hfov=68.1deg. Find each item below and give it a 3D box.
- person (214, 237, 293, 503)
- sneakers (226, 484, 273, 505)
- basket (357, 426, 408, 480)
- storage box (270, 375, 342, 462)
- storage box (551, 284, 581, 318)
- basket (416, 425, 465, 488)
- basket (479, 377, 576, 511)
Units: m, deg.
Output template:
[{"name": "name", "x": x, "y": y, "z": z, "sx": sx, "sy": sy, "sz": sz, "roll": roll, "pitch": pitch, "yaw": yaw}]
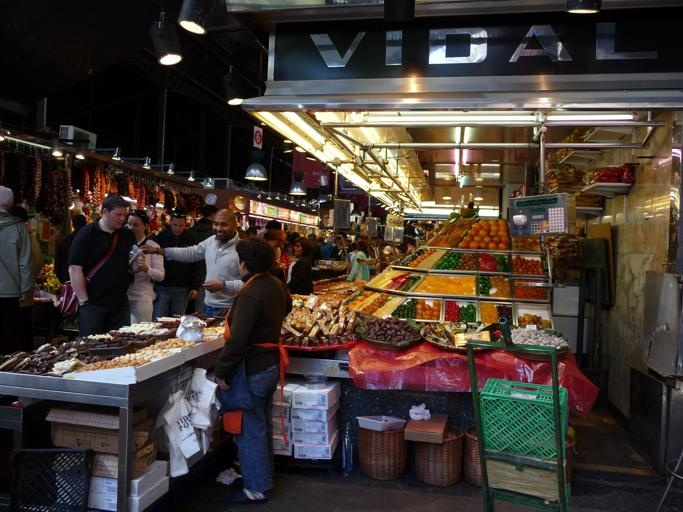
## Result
[{"name": "person", "x": -0.769, "y": 0.967, "z": 4.312, "sx": 0.483, "sy": 2.213, "sz": 0.502, "roll": 3, "pitch": 8, "yaw": 3}, {"name": "sneakers", "x": -0.789, "y": 2.040, "z": 4.292, "sx": 0.293, "sy": 0.100, "sz": 0.144, "roll": 14, "pitch": 4, "yaw": 2}, {"name": "basket", "x": 0.366, "y": 1.852, "z": 4.725, "sx": 0.466, "sy": 0.412, "sz": 0.447, "roll": 0, "pitch": -10, "yaw": 0}, {"name": "storage box", "x": -0.311, "y": 1.552, "z": 4.928, "sx": 0.903, "sy": 0.842, "sz": 0.648, "roll": 0, "pitch": -4, "yaw": 10}, {"name": "storage box", "x": 3.472, "y": 0.721, "z": 7.873, "sx": 0.355, "sy": 0.474, "sz": 0.326, "roll": 6, "pitch": 9, "yaw": 22}, {"name": "basket", "x": 0.876, "y": 1.898, "z": 4.768, "sx": 0.440, "sy": 0.437, "sz": 0.458, "roll": 0, "pitch": -5, "yaw": 2}, {"name": "basket", "x": 1.208, "y": 1.217, "z": 3.352, "sx": 0.550, "sy": 0.799, "sz": 0.345, "roll": 7, "pitch": 10, "yaw": 30}]
